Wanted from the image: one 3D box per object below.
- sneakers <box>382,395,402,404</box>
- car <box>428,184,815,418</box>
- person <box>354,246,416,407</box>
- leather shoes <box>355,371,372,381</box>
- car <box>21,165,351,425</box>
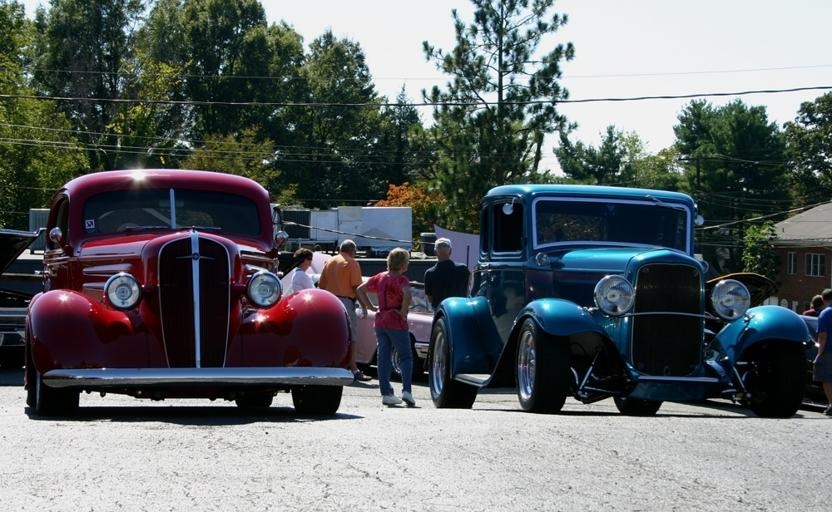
[{"bbox_3d":[-0.349,2.136,12.878,0.310,0.131,0.113,1,3,-21],"label":"sneakers"},{"bbox_3d":[2.288,0.771,13.612,3.192,2.580,5.395,4,-10,-22],"label":"car"},{"bbox_3d":[-0.433,1.063,13.230,0.824,2.366,1.252,0,3,-3],"label":"person"},{"bbox_3d":[-0.966,2.247,16.068,0.157,0.168,0.420,4,-1,43],"label":"leather shoes"},{"bbox_3d":[-2.946,0.394,11.545,4.115,3.253,2.947,0,2,-5],"label":"car"}]
